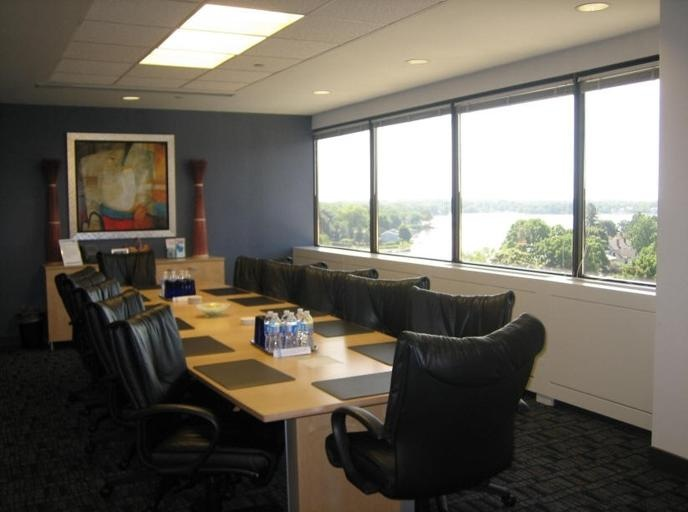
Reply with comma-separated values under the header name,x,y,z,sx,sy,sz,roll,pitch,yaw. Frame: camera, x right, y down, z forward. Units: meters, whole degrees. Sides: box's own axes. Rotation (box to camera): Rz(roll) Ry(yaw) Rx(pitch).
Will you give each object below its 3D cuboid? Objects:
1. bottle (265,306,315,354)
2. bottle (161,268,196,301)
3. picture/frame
name,x,y,z,sx,sy,sz,roll,pitch,yaw
bottle,-0.375,0.517,3.651,0.354,0.364,0.221,-4,9,-24
bottle,-1.765,0.288,5.500,0.333,0.358,0.347,-3,10,-30
picture/frame,-3.604,-1.126,8.093,1.643,1.775,0.128,-2,8,-23
